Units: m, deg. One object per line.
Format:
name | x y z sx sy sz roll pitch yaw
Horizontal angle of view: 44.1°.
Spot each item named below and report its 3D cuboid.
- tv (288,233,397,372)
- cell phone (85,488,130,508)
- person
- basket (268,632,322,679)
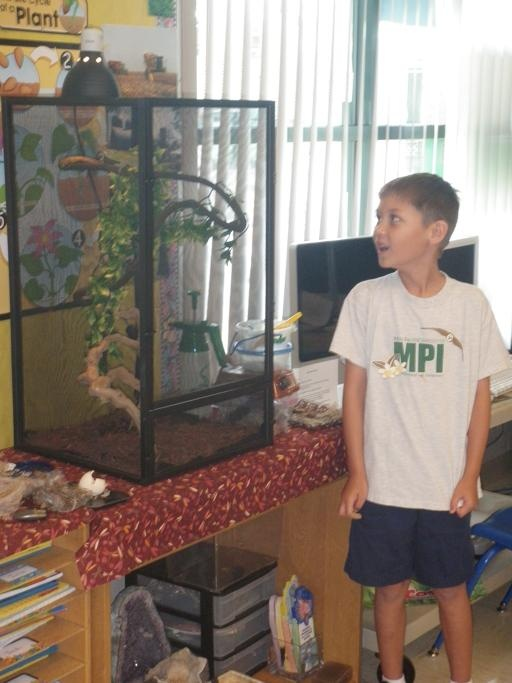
tv | 0.213 -0.093 1.643 0.060 0.536 0.391 4 -3 37
cell phone | -0.221 0.238 0.949 0.043 0.011 0.078 4 13 15
person | 0.350 0.281 1.426 0.383 1.278 0.215 2 13 6
basket | 0.090 0.763 1.570 0.107 0.092 0.109 2 5 43
